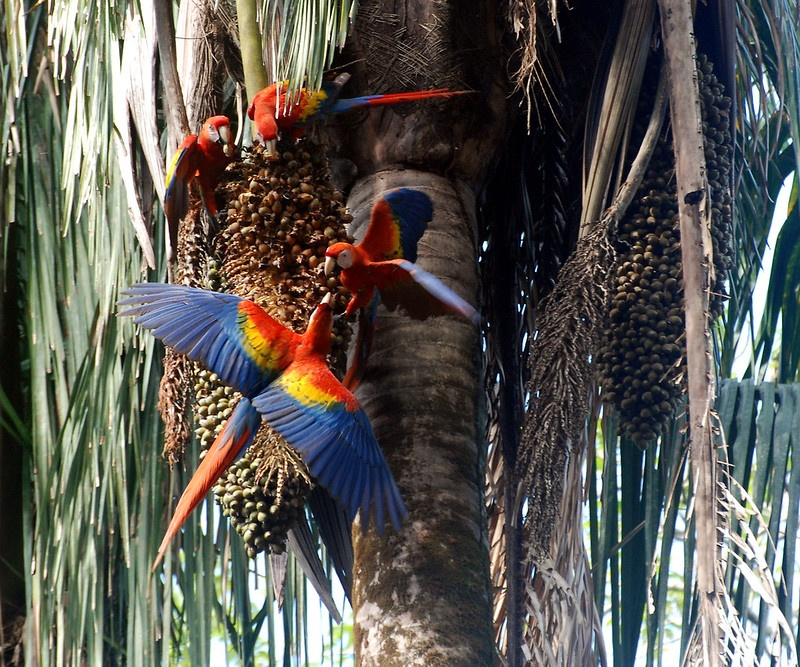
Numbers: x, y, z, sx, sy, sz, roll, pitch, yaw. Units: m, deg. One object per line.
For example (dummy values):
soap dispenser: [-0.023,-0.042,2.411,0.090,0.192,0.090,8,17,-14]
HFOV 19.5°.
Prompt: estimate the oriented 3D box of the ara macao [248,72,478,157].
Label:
ara macao: [-0.263,-0.821,8.798,0.659,0.359,0.214,5,-4,-32]

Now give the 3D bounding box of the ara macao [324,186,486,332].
ara macao: [-0.032,-0.305,8.633,0.398,0.597,0.348,7,-46,-1]

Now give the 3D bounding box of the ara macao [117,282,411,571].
ara macao: [-0.435,0.366,8.754,1.190,0.892,0.483,51,21,19]

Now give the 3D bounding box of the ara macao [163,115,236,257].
ara macao: [-0.789,-0.567,8.832,0.264,0.516,0.377,9,-20,-42]
